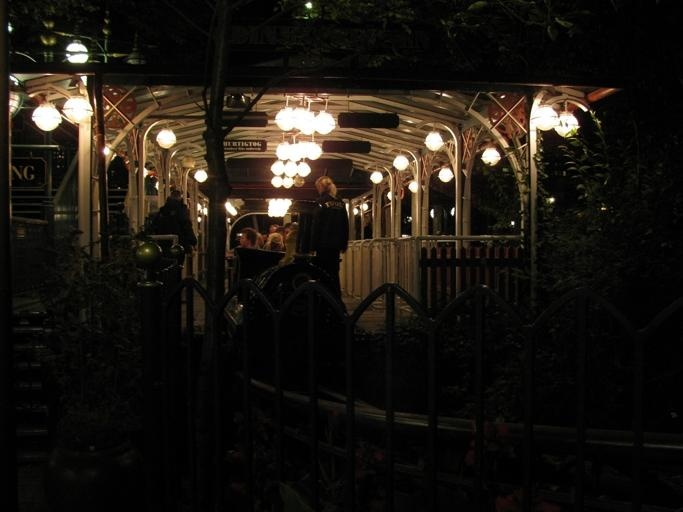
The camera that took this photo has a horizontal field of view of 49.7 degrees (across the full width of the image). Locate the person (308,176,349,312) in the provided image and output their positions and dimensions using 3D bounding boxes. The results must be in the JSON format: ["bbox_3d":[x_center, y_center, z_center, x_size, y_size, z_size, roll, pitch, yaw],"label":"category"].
[{"bbox_3d":[-0.197,-0.190,11.301,0.630,2.051,0.472,6,-10,-35],"label":"person"}]
